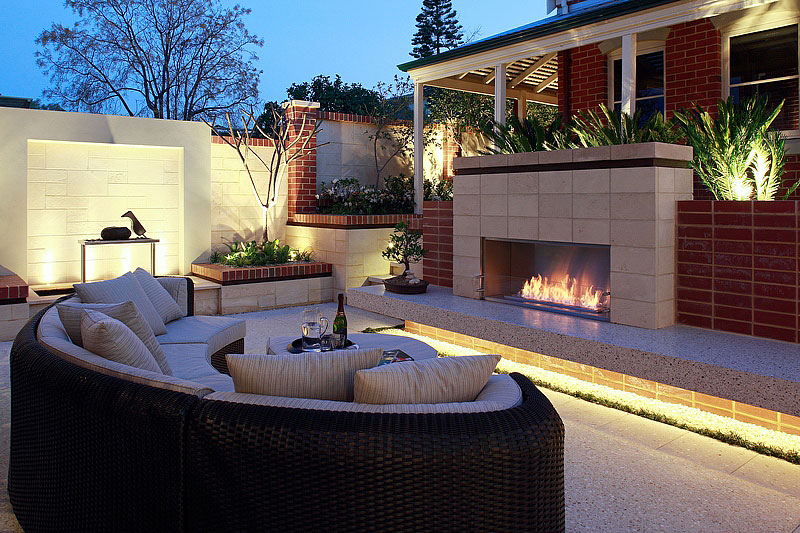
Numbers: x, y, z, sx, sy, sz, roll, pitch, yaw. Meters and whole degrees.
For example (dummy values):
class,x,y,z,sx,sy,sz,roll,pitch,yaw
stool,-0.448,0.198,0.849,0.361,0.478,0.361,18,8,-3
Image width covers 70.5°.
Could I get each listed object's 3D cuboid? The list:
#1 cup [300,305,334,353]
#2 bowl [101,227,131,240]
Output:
class,x,y,z,sx,sy,sz,roll,pitch,yaw
cup,-0.613,0.499,4.523,0.221,0.378,0.366,0,2,-32
bowl,-4.085,-0.463,8.123,0.206,0.156,0.285,2,4,22
